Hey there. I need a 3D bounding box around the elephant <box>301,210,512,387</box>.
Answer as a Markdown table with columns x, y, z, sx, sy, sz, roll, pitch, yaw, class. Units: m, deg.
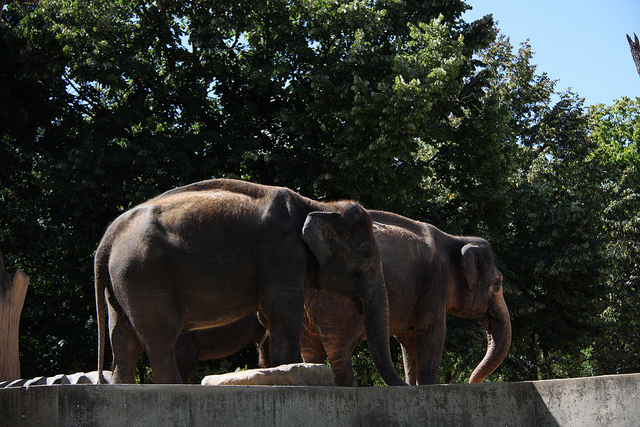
| x | y | z | sx | sy | sz | roll | pitch | yaw | class |
| --- | --- | --- | --- | --- | --- | --- | --- | --- | --- |
| 1.868 | 1.993 | 18.720 | 4.810 | 4.070 | 2.163 | 4 | -1 | -22 | elephant |
